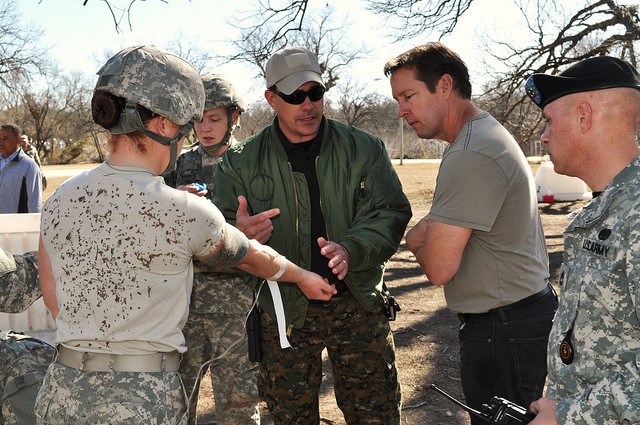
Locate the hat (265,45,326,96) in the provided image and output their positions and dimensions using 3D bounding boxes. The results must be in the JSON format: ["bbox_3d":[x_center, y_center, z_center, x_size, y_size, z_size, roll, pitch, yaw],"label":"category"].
[{"bbox_3d":[-0.182,-1.015,4.802,0.335,0.244,0.449,-6,12,-26],"label":"hat"}]

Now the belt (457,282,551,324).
[{"bbox_3d":[1.254,0.618,4.290,0.365,0.137,0.284,-10,-3,26],"label":"belt"}]
